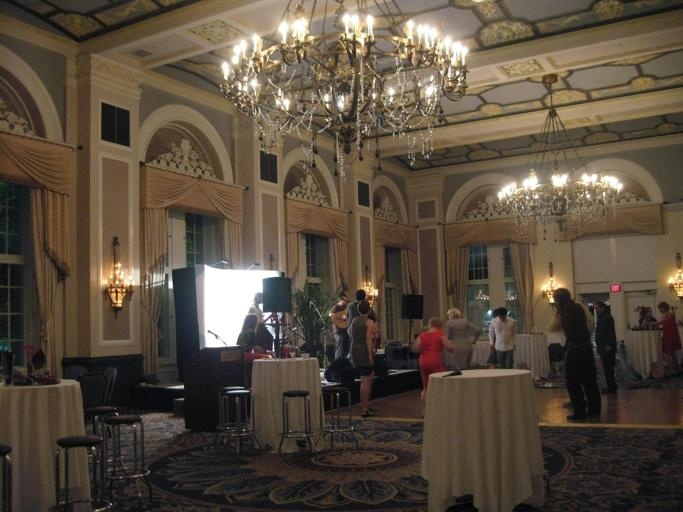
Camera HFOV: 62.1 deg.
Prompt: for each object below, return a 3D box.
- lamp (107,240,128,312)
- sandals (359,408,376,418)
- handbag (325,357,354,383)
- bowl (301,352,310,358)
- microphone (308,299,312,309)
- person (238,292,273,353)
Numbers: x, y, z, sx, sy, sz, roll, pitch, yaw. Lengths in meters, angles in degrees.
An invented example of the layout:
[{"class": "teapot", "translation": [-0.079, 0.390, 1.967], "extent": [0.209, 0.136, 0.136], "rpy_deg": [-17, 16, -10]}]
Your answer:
[{"class": "lamp", "translation": [-3.830, 0.312, 9.796], "extent": [0.146, 1.305, 0.461], "rpy_deg": [-6, -9, 30]}, {"class": "sandals", "translation": [0.395, 2.450, 8.894], "extent": [0.111, 0.148, 0.352], "rpy_deg": [-1, -5, 17]}, {"class": "handbag", "translation": [-0.044, 1.959, 9.801], "extent": [0.487, 0.515, 0.383], "rpy_deg": [8, -6, -45]}, {"class": "bowl", "translation": [-0.454, 1.277, 7.303], "extent": [0.088, 0.048, 0.089], "rpy_deg": [1, -8, 0]}, {"class": "microphone", "translation": [-0.656, 1.031, 12.223], "extent": [0.105, 0.186, 0.035], "rpy_deg": [-3, -8, 9]}, {"class": "person", "translation": [-1.288, 1.003, 8.658], "extent": [0.480, 0.933, 1.467], "rpy_deg": [-1, -9, -7]}]
